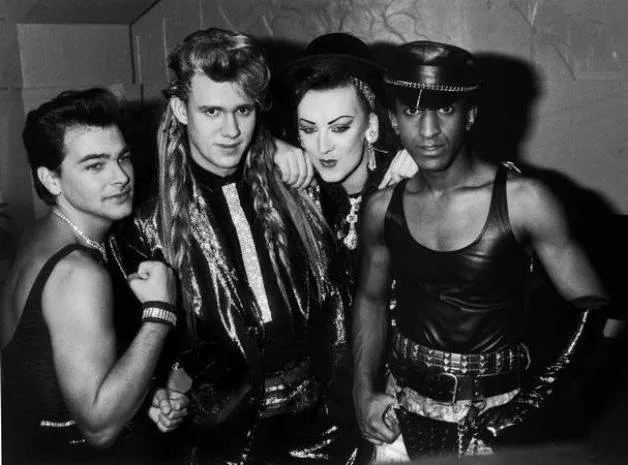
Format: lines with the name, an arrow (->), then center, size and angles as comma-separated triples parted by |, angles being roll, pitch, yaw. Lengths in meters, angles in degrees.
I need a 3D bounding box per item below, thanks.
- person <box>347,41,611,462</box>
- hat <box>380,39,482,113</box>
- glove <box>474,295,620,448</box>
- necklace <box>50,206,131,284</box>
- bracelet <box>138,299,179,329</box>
person -> 0.561, 0.138, 2.611 | 0.948, 1.634, 0.449 | 4, 22, 22
hat -> 0.468, -0.627, 2.709 | 0.391, 0.191, 0.460 | 9, 17, 17
glove -> 0.958, 0.579, 2.888 | 0.269, 0.825, 0.265 | 33, 17, 12
necklace -> -0.856, 0.048, 2.615 | 0.047, 0.440, 0.136 | -9, 54, 11
bracelet -> -0.589, 0.316, 2.631 | 0.108, 0.072, 0.108 | 5, -13, -14
